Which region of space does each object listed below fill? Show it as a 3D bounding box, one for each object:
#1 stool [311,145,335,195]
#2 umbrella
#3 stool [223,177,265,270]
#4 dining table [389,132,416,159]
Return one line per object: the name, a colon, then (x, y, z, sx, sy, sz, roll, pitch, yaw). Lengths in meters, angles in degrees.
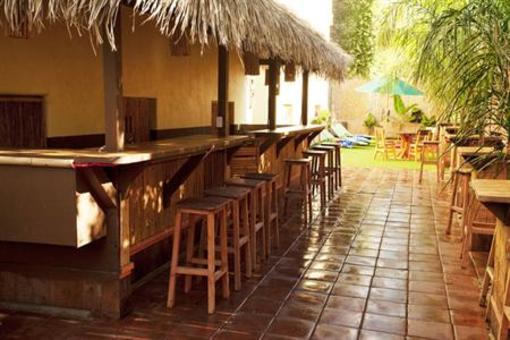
stool: (1.561, 0.104, 9.315, 0.586, 0.867, 0.612, -12, 7, 20)
umbrella: (6.149, -2.704, 18.209, 3.850, 2.701, 3.802, 2, 6, -3)
stool: (-0.116, 0.737, 5.684, 0.642, 0.970, 0.675, -10, 4, -18)
dining table: (5.812, -0.936, 15.256, 0.784, 0.989, 0.872, 0, 6, -6)
